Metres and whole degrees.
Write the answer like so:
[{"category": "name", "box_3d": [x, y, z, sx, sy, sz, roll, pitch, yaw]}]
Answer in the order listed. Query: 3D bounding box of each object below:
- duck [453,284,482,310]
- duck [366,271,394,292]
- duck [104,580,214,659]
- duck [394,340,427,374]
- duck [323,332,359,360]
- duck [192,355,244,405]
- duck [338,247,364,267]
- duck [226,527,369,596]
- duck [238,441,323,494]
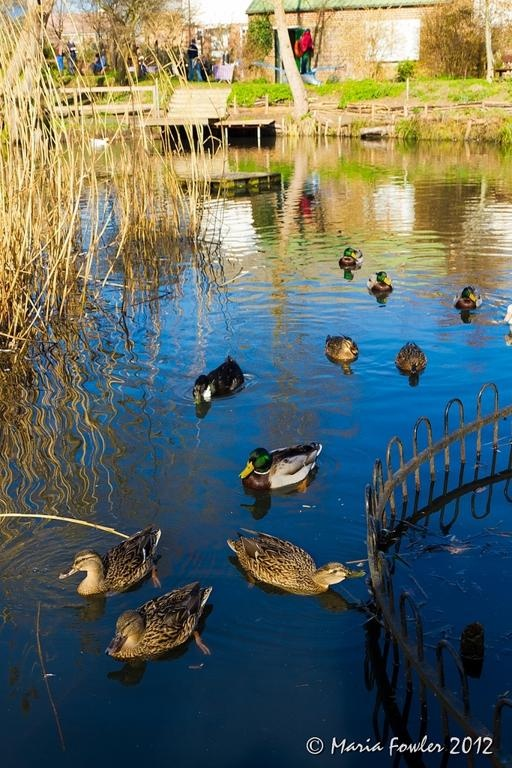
[{"category": "duck", "box_3d": [3.133, -1.293, 11.809, 0.359, 0.325, 0.537, -1, 18, 24]}, {"category": "duck", "box_3d": [1.984, -1.657, 12.801, 0.312, 0.325, 0.528, -8, 16, -1]}, {"category": "duck", "box_3d": [-0.609, 1.532, 5.077, 0.726, 0.335, 0.441, -13, 17, -16]}, {"category": "duck", "box_3d": [1.845, -0.315, 9.444, 0.232, 0.182, 0.450, -4, 28, 5]}, {"category": "duck", "box_3d": [1.052, -0.471, 9.818, 0.244, 0.259, 0.393, -18, 30, -23]}, {"category": "duck", "box_3d": [-0.408, -0.059, 8.980, 0.259, 0.367, 0.816, 5, 21, 37]}, {"category": "duck", "box_3d": [1.700, -2.303, 14.482, 0.359, 0.349, 0.528, -4, 17, 14]}, {"category": "duck", "box_3d": [0.274, 1.236, 5.662, 0.953, 0.393, 0.371, 23, 41, 11]}, {"category": "duck", "box_3d": [0.214, 0.697, 6.972, 0.725, 0.390, 0.366, -9, 16, -4]}]
